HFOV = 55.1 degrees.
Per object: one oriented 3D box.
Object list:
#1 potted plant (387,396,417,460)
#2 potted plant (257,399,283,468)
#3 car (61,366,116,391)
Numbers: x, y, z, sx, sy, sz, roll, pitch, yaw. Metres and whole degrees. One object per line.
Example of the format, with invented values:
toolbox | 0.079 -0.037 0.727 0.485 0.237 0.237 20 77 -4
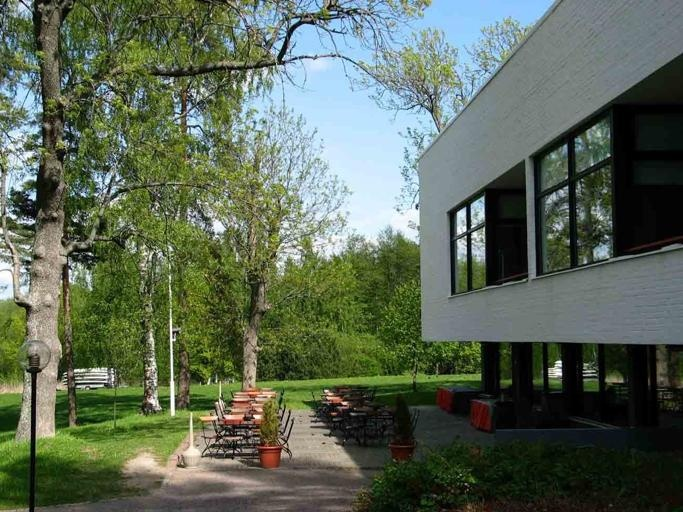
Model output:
potted plant | 1.493 4.145 15.841 0.624 1.580 1.573 0 -5 7
potted plant | -1.774 4.427 16.476 0.586 1.736 0.684 1 -4 -6
car | -17.307 8.551 45.980 2.339 1.808 8.748 3 -7 -24
